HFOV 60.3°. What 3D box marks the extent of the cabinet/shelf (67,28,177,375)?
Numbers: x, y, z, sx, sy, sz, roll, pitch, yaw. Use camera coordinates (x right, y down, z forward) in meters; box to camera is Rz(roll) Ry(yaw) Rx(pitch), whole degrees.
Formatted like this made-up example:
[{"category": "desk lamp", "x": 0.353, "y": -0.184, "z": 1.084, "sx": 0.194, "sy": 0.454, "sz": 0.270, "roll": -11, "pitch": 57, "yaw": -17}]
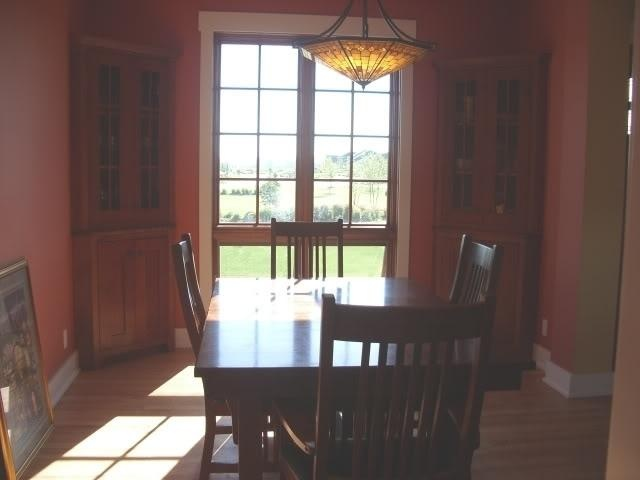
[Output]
[{"category": "cabinet/shelf", "x": -1.542, "y": -0.288, "z": 4.359, "sx": 0.873, "sy": 2.482, "sz": 0.361, "roll": -6, "pitch": 13, "yaw": -30}]
